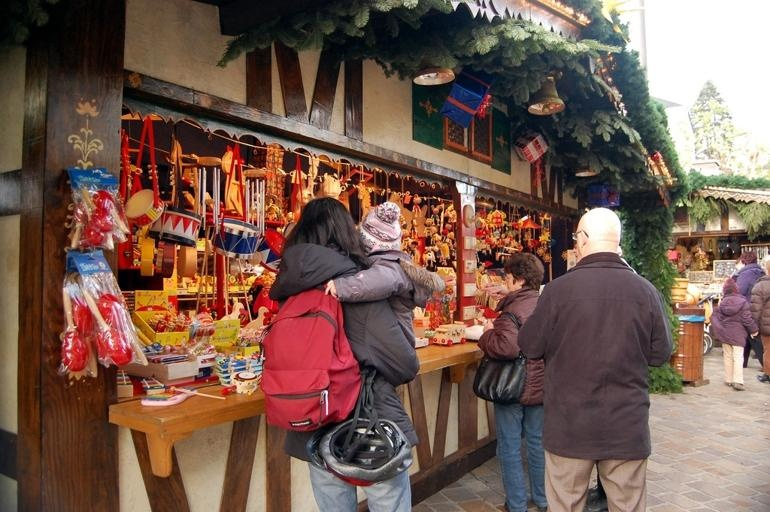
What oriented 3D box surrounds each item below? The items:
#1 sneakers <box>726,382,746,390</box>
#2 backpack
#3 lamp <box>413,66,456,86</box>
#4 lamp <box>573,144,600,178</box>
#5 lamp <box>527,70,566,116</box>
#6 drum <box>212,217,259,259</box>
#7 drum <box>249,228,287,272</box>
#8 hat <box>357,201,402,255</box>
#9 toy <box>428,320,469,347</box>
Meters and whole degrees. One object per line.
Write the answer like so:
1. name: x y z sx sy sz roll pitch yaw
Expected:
1. sneakers: 5.143 1.909 9.416 0.108 0.145 0.316 2 -9 -20
2. backpack: -0.439 0.615 3.860 0.607 0.825 0.265 -1 3 -5
3. lamp: 0.448 -1.616 5.766 0.279 0.074 0.281 -2 -8 -1
4. lamp: 2.474 -1.152 7.688 0.348 0.400 0.355 -1 -9 7
5. lamp: 1.615 -1.605 6.394 0.308 0.523 0.318 2 -3 38
6. drum: -1.110 -0.128 4.920 0.298 0.193 0.285 23 11 -5
7. drum: -0.944 -0.056 5.483 0.328 0.293 0.392 35 7 -15
8. hat: -0.021 -0.175 4.194 0.300 0.322 0.295 0 5 9
9. toy: 0.614 0.745 6.123 0.174 0.161 0.293 -8 -9 41
